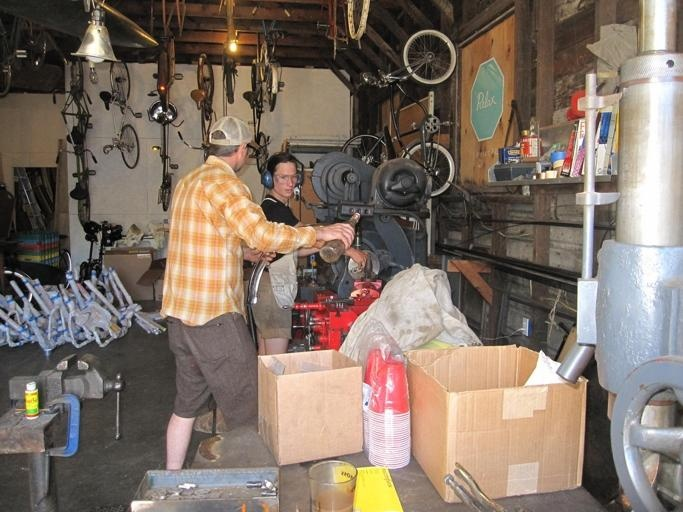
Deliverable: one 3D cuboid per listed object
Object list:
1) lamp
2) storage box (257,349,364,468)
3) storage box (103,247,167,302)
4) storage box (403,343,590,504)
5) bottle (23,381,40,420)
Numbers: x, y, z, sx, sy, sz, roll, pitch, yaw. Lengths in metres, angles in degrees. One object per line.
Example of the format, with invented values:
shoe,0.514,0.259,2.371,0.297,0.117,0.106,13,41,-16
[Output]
lamp,-1.179,-1.138,2.970,0.401,0.337,0.363,-6,10,-39
storage box,-0.101,0.439,1.848,0.281,0.284,0.301,0,4,-17
storage box,-2.790,0.263,7.725,0.590,0.618,0.344,-1,27,-1
storage box,0.451,0.470,1.716,0.469,0.336,0.330,-1,8,-13
bottle,-0.974,0.446,1.818,0.039,0.107,0.067,-4,8,-32
